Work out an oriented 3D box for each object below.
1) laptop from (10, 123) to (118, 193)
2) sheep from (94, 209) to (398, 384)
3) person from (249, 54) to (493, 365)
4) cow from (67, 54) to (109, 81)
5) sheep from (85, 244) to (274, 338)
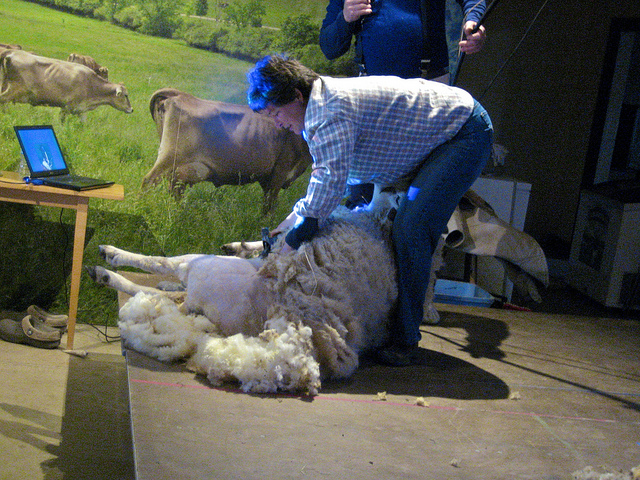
[{"bbox_3d":[-1.656,-0.546,3.763,0.507,0.330,0.375,13,15,19],"label":"laptop"},{"bbox_3d":[-0.346,0.331,3.031,1.307,0.521,0.954,-18,39,-34],"label":"sheep"},{"bbox_3d":[0.272,-0.353,3.491,1.336,1.503,1.038,-2,33,-6],"label":"person"},{"bbox_3d":[-1.626,-1.254,4.147,0.289,0.157,0.123,23,7,-33],"label":"cow"},{"bbox_3d":[-0.702,0.243,3.287,1.131,0.410,0.365,11,9,27],"label":"sheep"}]
